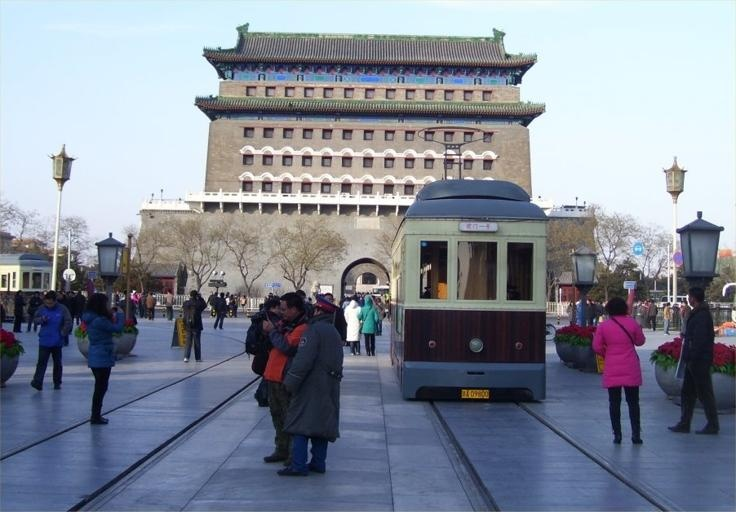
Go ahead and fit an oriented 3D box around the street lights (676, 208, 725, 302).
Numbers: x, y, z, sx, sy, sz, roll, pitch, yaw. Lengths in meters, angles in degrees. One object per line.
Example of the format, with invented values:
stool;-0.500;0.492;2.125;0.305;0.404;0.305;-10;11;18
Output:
street lights;6.858;0.051;19.228;0.944;1.849;0.836;0;1;28

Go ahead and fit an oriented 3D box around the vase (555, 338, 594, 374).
vase;6.091;2.934;27.352;0.471;0.798;2.186;1;-3;-8

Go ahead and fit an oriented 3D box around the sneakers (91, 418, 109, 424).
sneakers;-5.003;3.082;17.552;0.299;0.142;0.240;3;-3;-36

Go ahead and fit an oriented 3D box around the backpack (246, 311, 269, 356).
backpack;-1.962;1.354;16.488;0.303;0.684;0.686;4;1;-3

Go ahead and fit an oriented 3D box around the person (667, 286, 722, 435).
person;6.196;1.960;17.611;0.764;2.715;0.409;0;-2;18

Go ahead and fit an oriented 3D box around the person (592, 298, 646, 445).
person;4.624;2.070;17.220;0.843;2.588;1.214;0;-2;16

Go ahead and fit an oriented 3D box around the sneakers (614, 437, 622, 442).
sneakers;4.450;3.274;16.693;0.149;0.109;0.208;0;-3;14
